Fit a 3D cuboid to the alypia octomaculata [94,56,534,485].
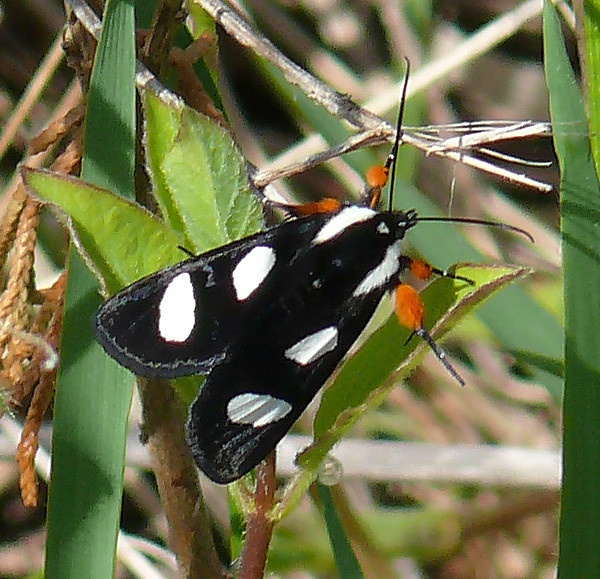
[{"bbox_3d":[-0.035,0.052,1.843,0.671,0.373,0.266,-28,35,-33],"label":"alypia octomaculata"}]
